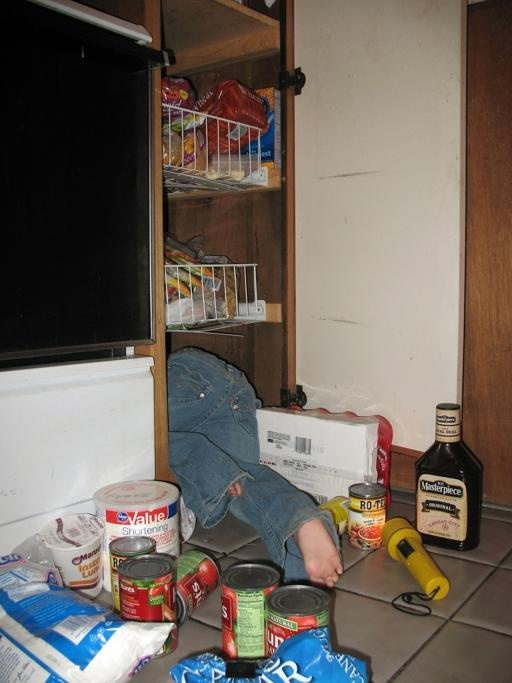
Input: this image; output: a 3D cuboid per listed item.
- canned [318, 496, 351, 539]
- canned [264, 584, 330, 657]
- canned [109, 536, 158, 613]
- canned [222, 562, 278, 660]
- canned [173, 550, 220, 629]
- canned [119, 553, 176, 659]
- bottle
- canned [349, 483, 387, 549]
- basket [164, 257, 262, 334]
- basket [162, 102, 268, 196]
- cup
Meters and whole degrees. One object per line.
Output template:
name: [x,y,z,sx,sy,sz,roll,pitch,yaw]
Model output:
canned: [0.144,0.325,1.077,0.045,0.051,0.085,13,3,16]
canned: [0.047,0.361,0.725,0.076,0.091,0.080,-4,-40,11]
canned: [-0.196,0.338,0.861,0.063,0.075,0.065,-16,-30,7]
canned: [-0.020,0.358,0.832,0.083,0.142,0.085,-1,10,-7]
canned: [-0.089,0.358,0.885,0.062,0.067,0.106,-1,-1,11]
canned: [-0.143,0.348,0.778,0.070,0.113,0.070,-32,-43,18]
bottle: [0.366,0.245,1.122,0.113,0.257,0.136,2,8,25]
canned: [0.207,0.324,1.103,0.065,0.105,0.068,-2,10,-7]
basket: [-0.110,-0.100,1.263,0.144,0.138,0.420,3,6,4]
basket: [-0.095,-0.426,1.316,0.236,0.147,0.336,-1,9,1]
cup: [-0.276,0.338,0.898,0.086,0.093,0.084,0,11,0]
